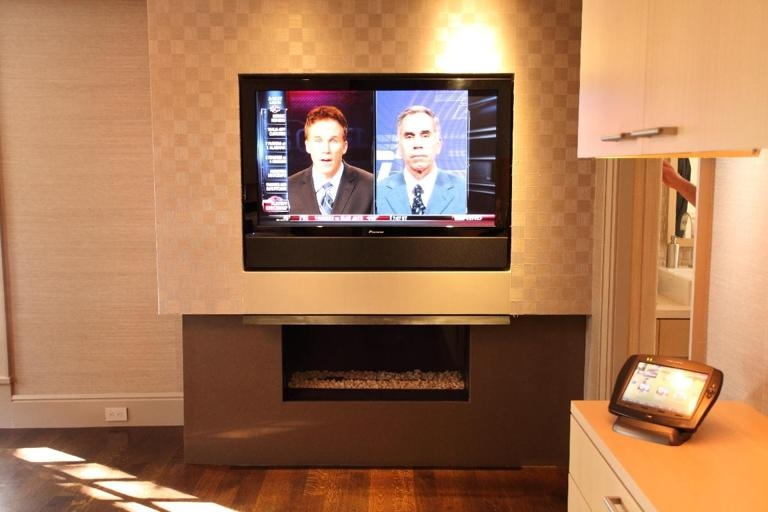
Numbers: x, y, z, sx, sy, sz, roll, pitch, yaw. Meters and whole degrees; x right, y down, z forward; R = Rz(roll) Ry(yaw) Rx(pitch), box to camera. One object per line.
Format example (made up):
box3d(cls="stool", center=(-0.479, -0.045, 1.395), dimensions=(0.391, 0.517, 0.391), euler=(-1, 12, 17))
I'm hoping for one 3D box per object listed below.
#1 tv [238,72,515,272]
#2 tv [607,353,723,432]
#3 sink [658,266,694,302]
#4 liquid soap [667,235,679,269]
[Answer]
box3d(cls="tv", center=(-0.014, -0.552, 4.011), dimensions=(1.283, 0.826, 0.132), euler=(-1, 5, 4))
box3d(cls="tv", center=(1.238, 0.610, 2.982), dimensions=(0.269, 0.286, 0.442), euler=(-8, 10, -43))
box3d(cls="sink", center=(1.935, 0.187, 4.477), dimensions=(0.271, 0.152, 0.373), euler=(-1, 7, 1))
box3d(cls="liquid soap", center=(2.014, -0.031, 4.699), dimensions=(0.067, 0.211, 0.072), euler=(1, 7, 15))
